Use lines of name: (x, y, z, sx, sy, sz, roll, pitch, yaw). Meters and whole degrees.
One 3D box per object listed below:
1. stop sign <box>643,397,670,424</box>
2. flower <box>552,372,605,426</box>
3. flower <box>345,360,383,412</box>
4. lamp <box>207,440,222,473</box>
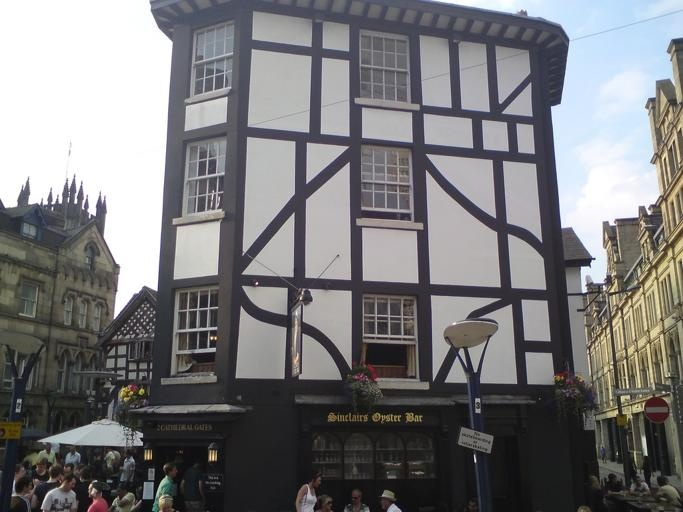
stop sign: (7.446, 3.595, 14.967, 0.466, 0.624, 0.928, -12, -23, 27)
flower: (7.353, 4.475, 19.926, 1.286, 1.705, 0.619, 4, -20, -15)
flower: (0.688, 3.961, 19.088, 1.129, 1.475, 1.162, 12, -21, -37)
lamp: (-3.600, 5.708, 18.184, 0.380, 0.844, 0.425, 0, -19, -4)
